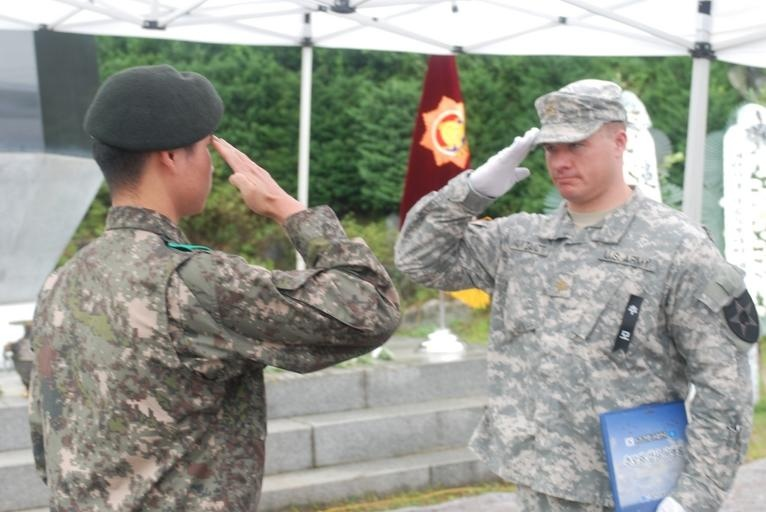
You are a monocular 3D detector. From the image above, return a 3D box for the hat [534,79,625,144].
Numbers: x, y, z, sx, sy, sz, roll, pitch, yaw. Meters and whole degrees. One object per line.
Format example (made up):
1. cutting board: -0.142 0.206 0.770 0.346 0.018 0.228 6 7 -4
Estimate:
1. hat: 1.214 -0.897 7.071 0.531 0.239 0.378 -18 10 -32
